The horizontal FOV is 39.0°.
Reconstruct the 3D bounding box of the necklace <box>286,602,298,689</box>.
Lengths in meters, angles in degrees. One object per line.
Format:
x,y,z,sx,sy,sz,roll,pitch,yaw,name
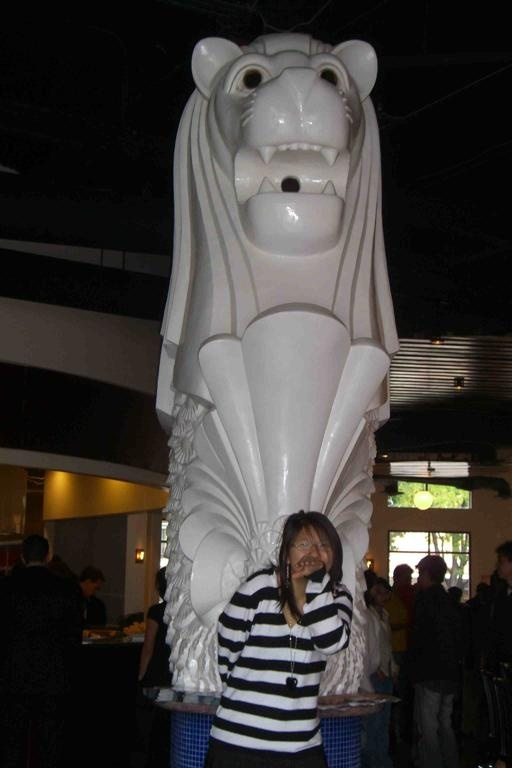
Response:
0.068,0.522,1.385,0.020,0.120,0.013,3,-14,0,necklace

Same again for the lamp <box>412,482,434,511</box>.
3.476,2.385,15.189,0.325,0.388,0.518,1,-15,6,lamp
